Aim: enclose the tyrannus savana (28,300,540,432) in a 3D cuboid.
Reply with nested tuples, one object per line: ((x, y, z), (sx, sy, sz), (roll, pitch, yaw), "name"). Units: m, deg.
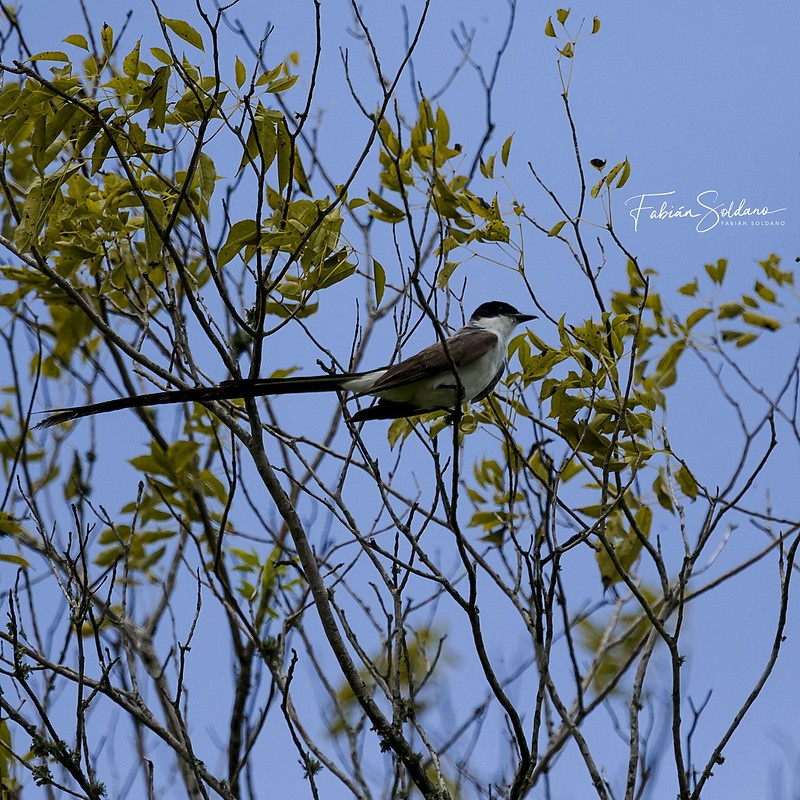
((-0.348, -0.099, 5.311), (1.785, 0.569, 0.285), (2, -29, -19), "tyrannus savana")
